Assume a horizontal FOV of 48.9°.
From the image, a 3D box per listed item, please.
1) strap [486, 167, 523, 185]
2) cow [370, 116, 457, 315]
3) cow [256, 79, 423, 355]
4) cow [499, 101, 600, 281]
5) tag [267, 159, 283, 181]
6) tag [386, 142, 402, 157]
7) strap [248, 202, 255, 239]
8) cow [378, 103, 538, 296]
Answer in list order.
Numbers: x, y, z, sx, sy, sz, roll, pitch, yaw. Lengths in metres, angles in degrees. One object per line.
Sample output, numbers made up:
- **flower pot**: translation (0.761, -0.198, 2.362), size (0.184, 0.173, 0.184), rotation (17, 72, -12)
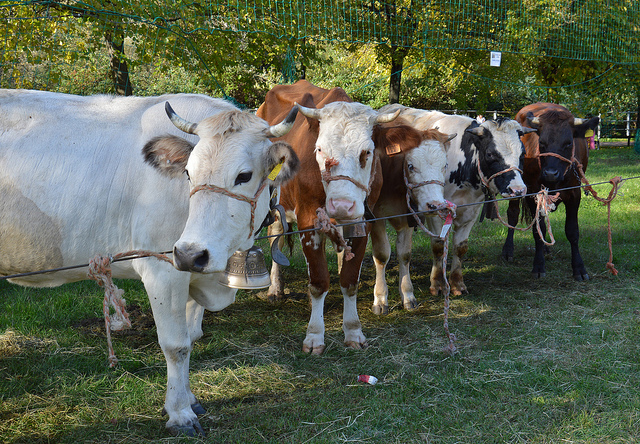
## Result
- **strap**: translation (2.513, -0.669, 9.823), size (0.265, 0.077, 0.271), rotation (4, -28, -34)
- **cow**: translation (1.016, -0.165, 10.632), size (0.926, 3.039, 3.689), rotation (-2, 11, -11)
- **cow**: translation (0.182, -0.045, 10.233), size (1.558, 3.410, 4.967), rotation (0, 7, -7)
- **cow**: translation (3.903, -0.544, 12.288), size (1.291, 2.796, 4.729), rotation (0, 7, 11)
- **tag**: translation (-0.473, -0.537, 7.420), size (0.076, 0.282, 0.012), rotation (35, 18, 4)
- **tag**: translation (0.906, -0.911, 8.731), size (0.177, 0.152, 0.096), rotation (-2, 2, 3)
- **strap**: translation (-0.709, -0.016, 7.217), size (0.066, 0.369, 0.115), rotation (-3, 2, -16)
- **cow**: translation (1.844, -0.199, 11.114), size (0.962, 2.692, 3.503), rotation (0, 0, -32)
